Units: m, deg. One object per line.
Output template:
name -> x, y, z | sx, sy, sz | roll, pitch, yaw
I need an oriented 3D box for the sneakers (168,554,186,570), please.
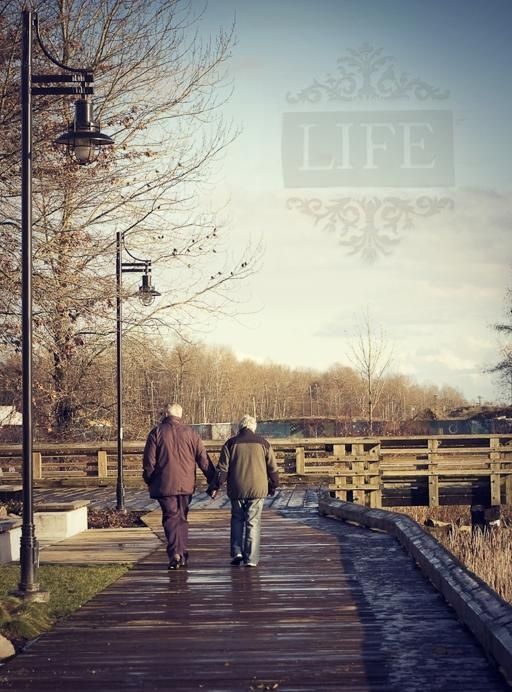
sneakers -> -0.704, 1.953, 12.274 | 0.157, 0.139, 0.331 | 0, -2, -2

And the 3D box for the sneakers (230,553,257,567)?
sneakers -> -0.119, 1.972, 12.376 | 0.264, 0.135, 0.093 | -1, -5, 11

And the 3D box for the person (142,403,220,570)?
person -> -0.717, 1.274, 12.286 | 0.453, 1.488, 0.704 | -2, -3, 44
